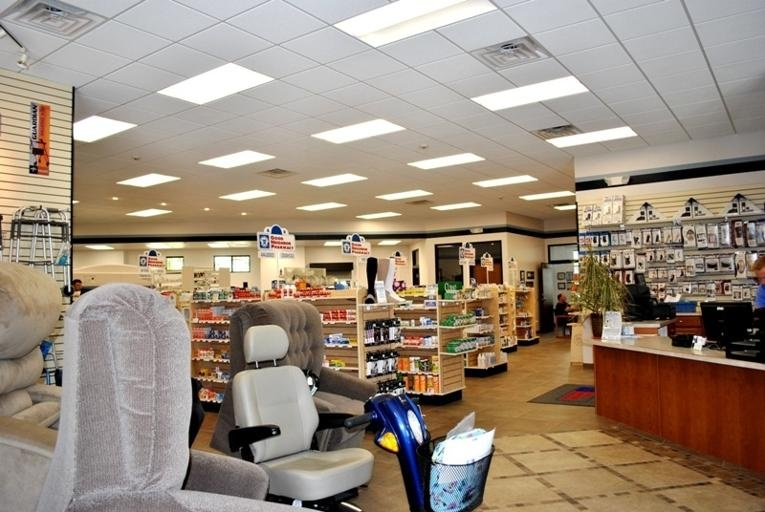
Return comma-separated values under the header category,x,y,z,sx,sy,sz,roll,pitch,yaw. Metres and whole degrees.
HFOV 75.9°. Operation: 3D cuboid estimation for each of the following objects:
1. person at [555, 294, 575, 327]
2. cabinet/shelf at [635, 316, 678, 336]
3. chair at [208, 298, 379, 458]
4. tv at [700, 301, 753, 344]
category,x,y,z,sx,sy,sz,roll,pitch,yaw
person,6.350,1.909,17.039,0.824,1.090,0.761,7,16,37
cabinet/shelf,4.660,1.182,8.373,0.478,0.249,0.251,-7,-17,36
chair,-1.064,1.273,5.461,1.998,1.730,1.824,-3,-5,23
tv,3.571,0.700,5.085,0.166,0.399,0.455,3,-7,-14
